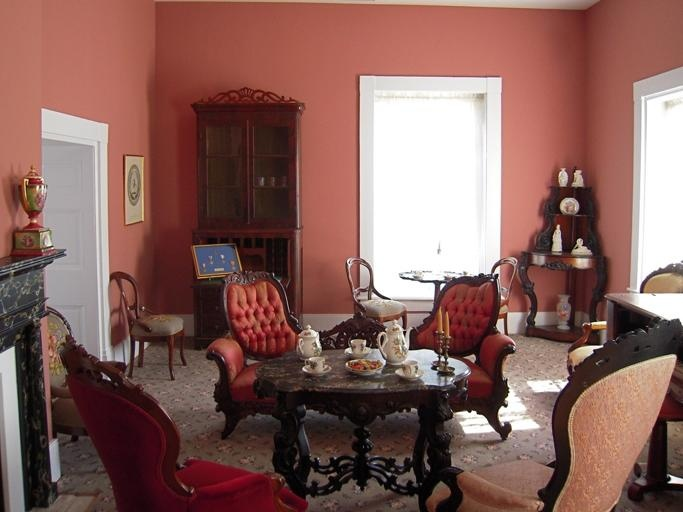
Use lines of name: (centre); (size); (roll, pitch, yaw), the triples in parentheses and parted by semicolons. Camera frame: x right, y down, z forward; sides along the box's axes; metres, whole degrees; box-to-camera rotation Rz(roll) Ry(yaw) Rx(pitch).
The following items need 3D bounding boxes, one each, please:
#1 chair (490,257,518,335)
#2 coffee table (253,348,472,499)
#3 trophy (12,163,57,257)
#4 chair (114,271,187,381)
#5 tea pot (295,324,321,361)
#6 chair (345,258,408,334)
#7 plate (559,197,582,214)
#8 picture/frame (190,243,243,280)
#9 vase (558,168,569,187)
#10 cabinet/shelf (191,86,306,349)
chair: (2.044, 0.500, 6.815); (0.394, 1.043, 0.418); (5, 7, 2)
coffee table: (0.118, 1.302, 4.428); (1.615, 0.993, 1.359); (0, 3, -2)
trophy: (-2.084, -0.301, 3.721); (0.167, 0.563, 0.221); (6, 8, -8)
chair: (-2.233, 0.783, 6.346); (0.772, 1.114, 0.719); (1, 3, -3)
tea pot: (-0.247, 0.683, 4.307); (0.196, 0.260, 0.261); (3, 5, 21)
chair: (0.418, 0.562, 7.064); (0.728, 0.994, 0.641); (7, 11, 35)
plate: (3.187, -0.663, 7.565); (0.285, 0.239, 0.241); (-1, 7, 4)
picture/frame: (-1.624, 0.076, 7.026); (0.640, 0.505, 0.244); (-2, 11, -38)
vase: (3.110, -1.069, 7.623); (0.149, 0.262, 0.267); (2, 8, 23)
cabinet/shelf: (-1.296, -0.396, 7.299); (1.620, 3.309, 0.839); (-1, 4, -8)
